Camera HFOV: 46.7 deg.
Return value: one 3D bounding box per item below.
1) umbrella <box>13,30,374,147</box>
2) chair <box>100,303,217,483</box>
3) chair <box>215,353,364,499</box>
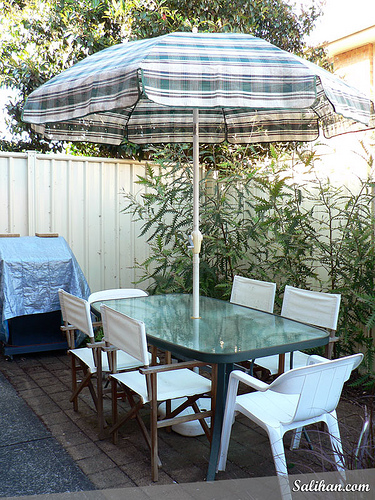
[{"bbox_3d":[-0.019,-0.800,2.620,1.823,0.547,1.736,0,5,-3],"label":"umbrella"},{"bbox_3d":[-0.132,0.677,2.206,0.477,0.672,0.548,-1,2,-28],"label":"chair"},{"bbox_3d":[0.432,0.702,1.796,0.473,0.620,0.587,1,1,-12],"label":"chair"}]
